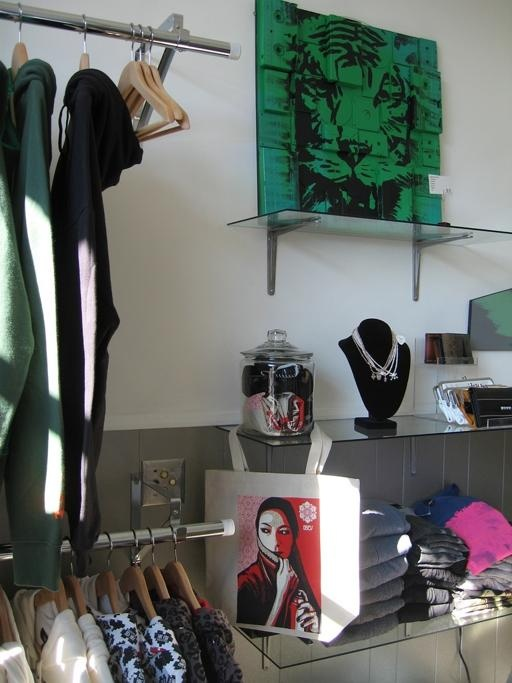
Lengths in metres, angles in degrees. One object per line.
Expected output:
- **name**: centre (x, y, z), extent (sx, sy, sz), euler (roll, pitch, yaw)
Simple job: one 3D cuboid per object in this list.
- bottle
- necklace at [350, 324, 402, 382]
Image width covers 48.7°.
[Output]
- **bottle**: centre (0.045, 0.083, 1.263), extent (0.145, 0.243, 0.154), euler (-1, -1, 0)
- **necklace**: centre (0.296, 0.028, 1.362), extent (0.081, 0.130, 0.026), euler (-11, -8, -17)
